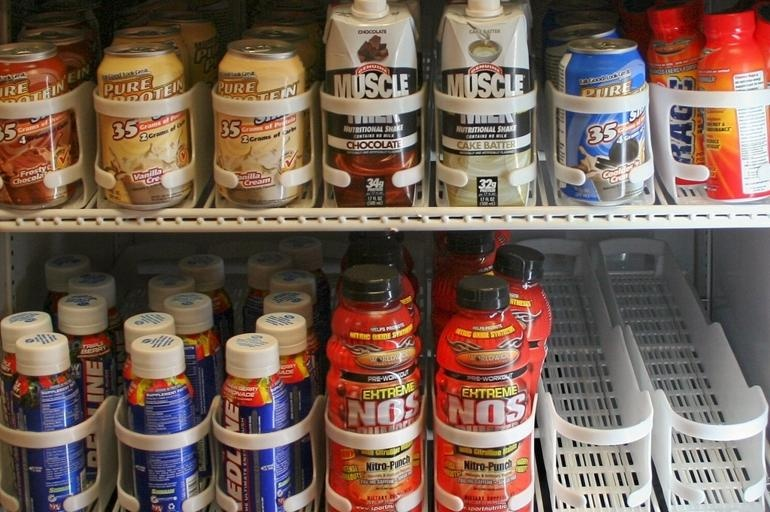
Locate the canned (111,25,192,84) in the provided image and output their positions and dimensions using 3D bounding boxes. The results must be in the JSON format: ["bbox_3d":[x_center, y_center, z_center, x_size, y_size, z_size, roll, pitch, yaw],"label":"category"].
[{"bbox_3d":[-0.428,-0.394,1.201,0.141,0.131,0.137,-4,22,-12],"label":"canned"}]

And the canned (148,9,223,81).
[{"bbox_3d":[-0.409,-0.421,1.313,0.113,0.173,0.105,16,45,5],"label":"canned"}]

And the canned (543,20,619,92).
[{"bbox_3d":[0.342,-0.395,1.201,0.144,0.142,0.136,-7,29,-2],"label":"canned"}]

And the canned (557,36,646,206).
[{"bbox_3d":[0.381,-0.232,1.099,0.163,0.277,0.122,-2,-9,21],"label":"canned"}]
